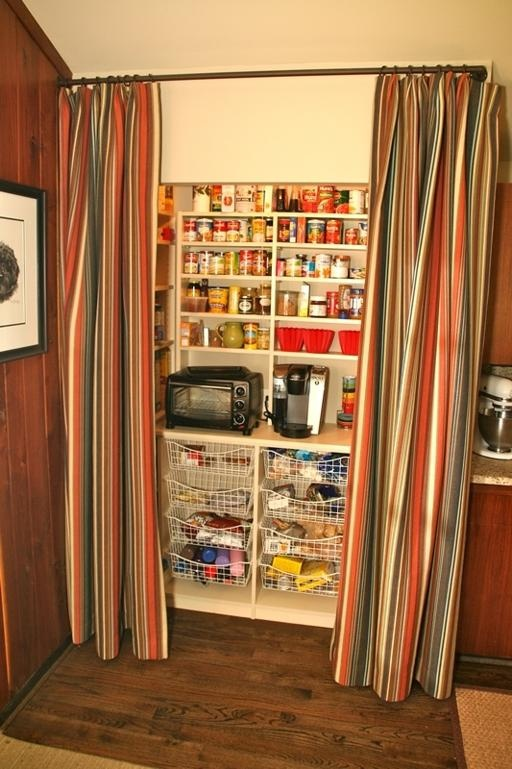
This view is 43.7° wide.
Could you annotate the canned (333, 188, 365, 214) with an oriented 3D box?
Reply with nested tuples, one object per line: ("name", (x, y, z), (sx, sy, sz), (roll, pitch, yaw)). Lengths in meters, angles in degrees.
("canned", (0.392, -0.762, 2.739), (0.149, 0.123, 0.094), (4, 10, 15))

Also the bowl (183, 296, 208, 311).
("bowl", (-0.281, -0.387, 2.965), (0.074, 0.042, 0.077), (1, 7, 0))

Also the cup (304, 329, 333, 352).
("cup", (0.279, -0.191, 2.820), (0.099, 0.079, 0.105), (2, 1, 0))

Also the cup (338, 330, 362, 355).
("cup", (0.403, -0.200, 2.752), (0.118, 0.121, 0.122), (0, 6, 0))

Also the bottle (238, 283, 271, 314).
("bottle", (-0.003, -0.380, 2.887), (0.148, 0.119, 0.094), (2, 7, 15))

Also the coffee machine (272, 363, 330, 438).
("coffee machine", (0.182, 0.063, 2.617), (0.196, 0.293, 0.285), (1, 9, 6))

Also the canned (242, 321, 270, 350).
("canned", (-0.001, -0.214, 2.901), (0.136, 0.146, 0.085), (1, 9, 8))

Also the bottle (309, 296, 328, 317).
("bottle", (0.262, -0.343, 2.808), (0.078, 0.098, 0.083), (0, 7, 0))

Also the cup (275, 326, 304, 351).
("cup", (0.152, -0.203, 2.853), (0.100, 0.081, 0.108), (1, 1, 0))

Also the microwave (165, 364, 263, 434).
("microwave", (-0.182, 0.058, 2.630), (0.336, 0.269, 0.253), (2, 7, 11))

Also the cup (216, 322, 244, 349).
("cup", (-0.114, -0.224, 2.924), (0.124, 0.124, 0.096), (5, 8, 26))

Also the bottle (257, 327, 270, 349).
("bottle", (0.032, -0.206, 2.897), (0.075, 0.135, 0.079), (0, 5, 0))

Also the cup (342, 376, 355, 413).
("cup", (0.396, 0.046, 2.745), (0.040, 0.168, 0.085), (1, 9, -3))

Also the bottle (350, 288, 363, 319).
("bottle", (0.440, -0.352, 2.772), (0.042, 0.130, 0.092), (-2, 9, -17))

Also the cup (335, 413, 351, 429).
("cup", (0.381, 0.158, 2.751), (0.055, 0.046, 0.058), (0, 3, 0))
